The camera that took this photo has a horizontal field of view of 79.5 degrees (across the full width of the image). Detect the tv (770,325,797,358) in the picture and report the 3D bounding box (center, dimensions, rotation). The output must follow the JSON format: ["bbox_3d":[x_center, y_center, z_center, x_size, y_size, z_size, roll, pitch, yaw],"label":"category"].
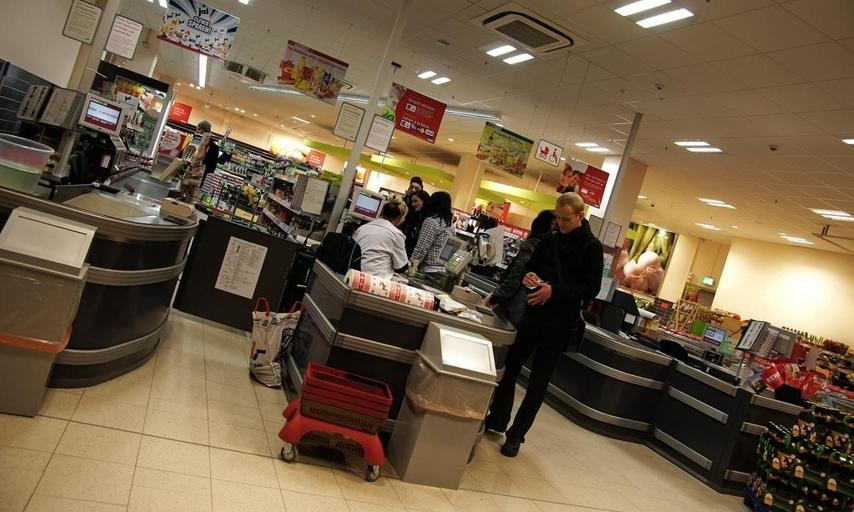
[{"bbox_3d":[4.768,1.138,6.669,0.394,0.456,0.130,15,7,-20],"label":"tv"}]

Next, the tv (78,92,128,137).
[{"bbox_3d":[-4.798,-2.036,7.427,0.308,0.488,0.592,23,9,40],"label":"tv"}]

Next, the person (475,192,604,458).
[{"bbox_3d":[1.363,0.787,5.798,0.844,2.885,0.519,19,7,11],"label":"person"}]

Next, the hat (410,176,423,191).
[{"bbox_3d":[-0.186,-1.226,8.567,0.235,0.283,0.258,2,-17,2],"label":"hat"}]

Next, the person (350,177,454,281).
[{"bbox_3d":[-0.556,-0.336,6.505,0.774,1.187,1.271,29,39,36],"label":"person"}]

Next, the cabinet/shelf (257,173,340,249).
[{"bbox_3d":[-2.529,-0.964,9.444,0.988,0.889,5.904,14,7,-20],"label":"cabinet/shelf"}]

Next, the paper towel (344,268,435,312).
[{"bbox_3d":[-0.187,0.342,5.276,1.284,0.330,0.341,12,1,-20],"label":"paper towel"}]

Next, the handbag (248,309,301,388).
[{"bbox_3d":[-1.817,0.991,5.743,0.520,0.622,0.317,15,7,-18],"label":"handbag"}]

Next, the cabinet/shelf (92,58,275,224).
[{"bbox_3d":[-6.404,-2.956,13.171,4.157,2.028,6.499,12,8,-33],"label":"cabinet/shelf"}]

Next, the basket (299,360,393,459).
[{"bbox_3d":[-0.821,1.474,4.844,0.995,0.429,0.682,16,6,-16],"label":"basket"}]
